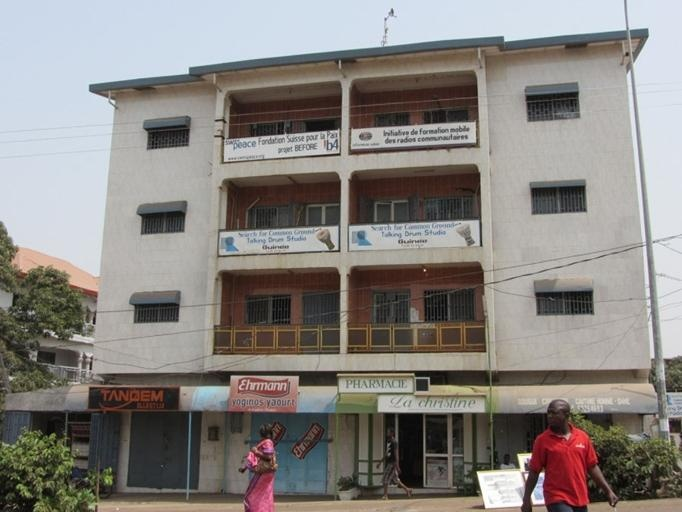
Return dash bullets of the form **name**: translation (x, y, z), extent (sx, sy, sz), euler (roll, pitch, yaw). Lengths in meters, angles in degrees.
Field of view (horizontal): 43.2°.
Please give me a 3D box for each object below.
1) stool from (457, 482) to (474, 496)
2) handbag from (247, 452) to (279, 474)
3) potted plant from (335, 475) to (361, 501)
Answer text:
- **stool**: translation (4.592, 8.563, 31.699), extent (0.167, 0.438, 0.822), euler (17, -27, -41)
- **handbag**: translation (-1.913, 5.018, 20.782), extent (0.607, 0.425, 0.478), euler (5, -18, -5)
- **potted plant**: translation (0.254, 8.571, 31.956), extent (0.816, 0.917, 1.025), euler (-1, -20, 0)
